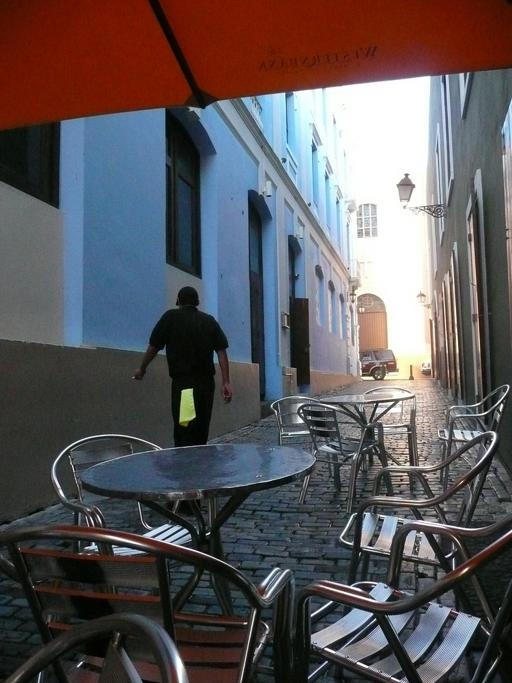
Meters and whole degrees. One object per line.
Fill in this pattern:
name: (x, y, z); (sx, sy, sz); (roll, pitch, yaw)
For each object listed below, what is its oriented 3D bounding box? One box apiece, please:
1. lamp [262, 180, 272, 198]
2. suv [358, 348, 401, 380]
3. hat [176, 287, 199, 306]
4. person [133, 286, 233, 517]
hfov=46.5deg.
lamp: (0.208, -3.171, 12.443); (0.172, 0.435, 0.367); (0, -11, -3)
suv: (6.548, 1.160, 32.044); (1.692, 1.262, 1.235); (2, 1, 13)
hat: (-0.558, -0.395, 4.866); (0.116, 0.204, 0.172); (3, 12, 5)
person: (-0.549, 0.458, 4.652); (0.620, 1.858, 0.420); (-5, -21, -1)
